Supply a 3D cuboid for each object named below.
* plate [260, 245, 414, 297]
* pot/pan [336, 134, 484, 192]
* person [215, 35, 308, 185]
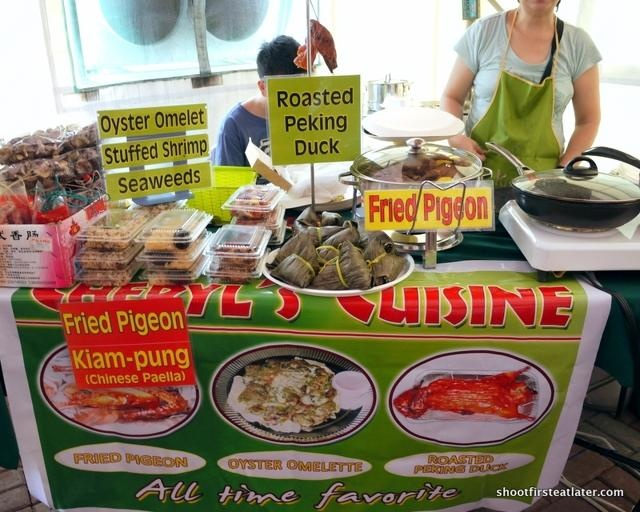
[{"bbox_3d":[0.075,0.056,1.695,0.461,0.046,0.465,9,20,41],"label":"plate"},{"bbox_3d":[0.343,-0.349,1.825,0.458,0.179,0.418,0,-2,-26],"label":"pot/pan"},{"bbox_3d":[-0.337,-0.748,2.530,0.540,0.649,0.543,-3,25,-1],"label":"person"}]
